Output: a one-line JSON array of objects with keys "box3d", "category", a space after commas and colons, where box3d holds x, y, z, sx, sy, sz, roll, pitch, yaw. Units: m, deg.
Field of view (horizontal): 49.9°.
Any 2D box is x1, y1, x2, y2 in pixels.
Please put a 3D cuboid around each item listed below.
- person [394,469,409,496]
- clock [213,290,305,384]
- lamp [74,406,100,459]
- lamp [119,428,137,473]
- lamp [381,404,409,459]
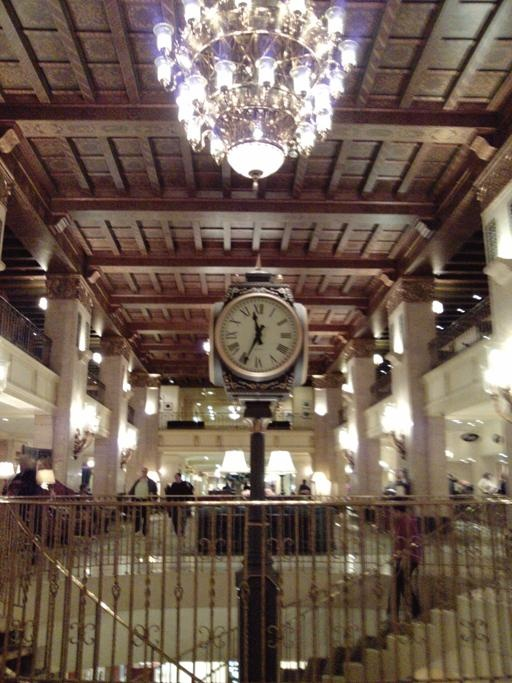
[{"box3d": [3.233, 3.088, 12.191, 0.301, 0.575, 1.371, -7, -18, 14], "category": "person"}, {"box3d": [0.017, -0.007, 3.089, 0.618, 0.660, 0.076, -1, -31, 0], "category": "clock"}, {"box3d": [-4.193, 2.214, 13.717, 0.439, 1.473, 1.489, 1, -18, -12], "category": "lamp"}, {"box3d": [-4.363, 3.748, 18.568, 0.345, 1.111, 0.346, 5, -22, 31], "category": "lamp"}, {"box3d": [3.335, 2.146, 13.293, 0.489, 1.441, 0.775, -6, -19, 10], "category": "lamp"}]
